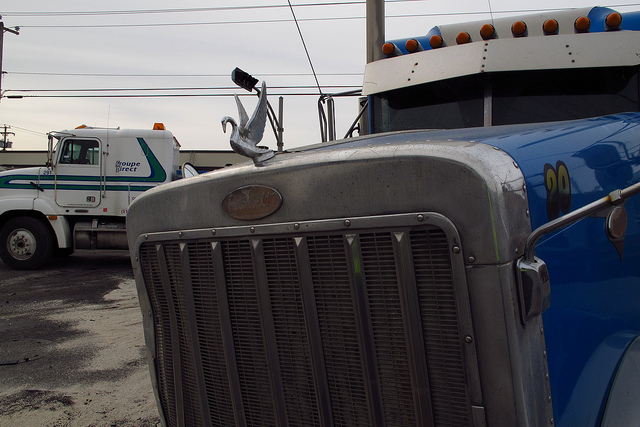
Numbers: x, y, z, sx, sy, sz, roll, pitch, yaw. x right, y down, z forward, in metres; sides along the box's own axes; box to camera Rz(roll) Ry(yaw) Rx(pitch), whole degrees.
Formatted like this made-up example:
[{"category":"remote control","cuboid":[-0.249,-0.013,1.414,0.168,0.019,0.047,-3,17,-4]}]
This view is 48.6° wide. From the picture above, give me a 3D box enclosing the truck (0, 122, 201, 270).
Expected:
[{"category":"truck","cuboid":[-4.454,-0.438,12.683,4.292,2.735,2.983,-1,0,-5]}]
